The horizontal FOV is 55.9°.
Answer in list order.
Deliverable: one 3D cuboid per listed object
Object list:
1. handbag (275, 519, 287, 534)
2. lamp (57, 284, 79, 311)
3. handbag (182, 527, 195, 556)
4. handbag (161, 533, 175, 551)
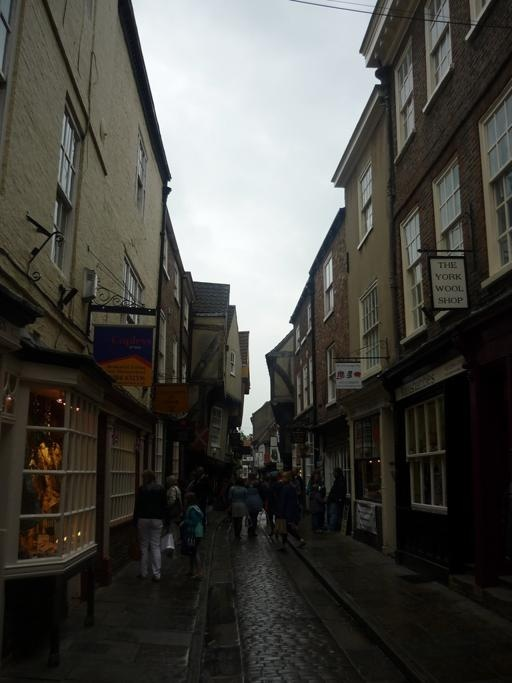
[{"bbox_3d":[0.593,4.292,11.191,0.183,0.413,0.170,-3,-29,7],"label":"handbag"},{"bbox_3d":[-2.395,-0.567,6.206,0.077,0.331,0.275,21,-51,-36],"label":"lamp"},{"bbox_3d":[-1.063,3.242,7.784,0.220,0.425,0.295,2,-13,-11],"label":"handbag"},{"bbox_3d":[-1.326,3.116,7.446,0.166,0.289,0.447,5,-17,-21],"label":"handbag"}]
